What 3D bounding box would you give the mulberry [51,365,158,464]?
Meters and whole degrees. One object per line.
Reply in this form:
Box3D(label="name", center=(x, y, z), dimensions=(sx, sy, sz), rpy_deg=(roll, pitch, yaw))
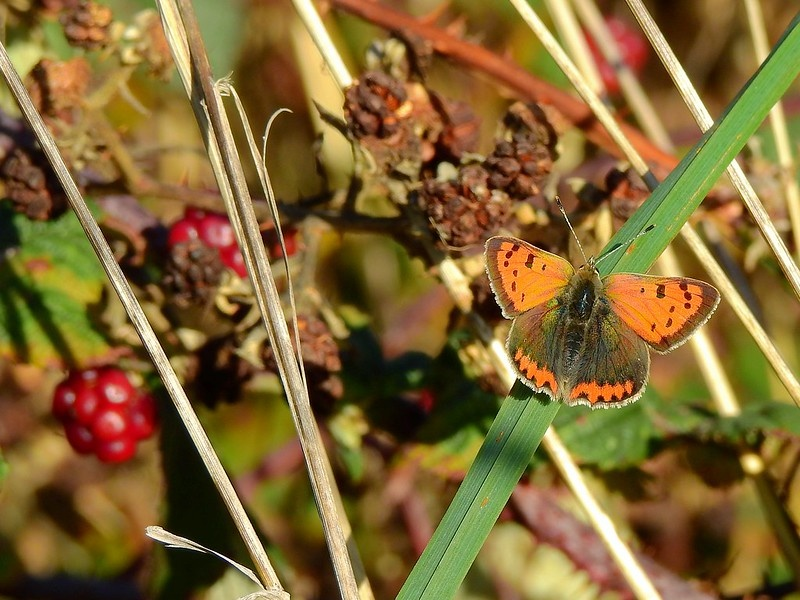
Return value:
Box3D(label="mulberry", center=(-0.746, 0.285, 2.112), dimensions=(0.265, 0.207, 0.202), rpy_deg=(35, 49, 8))
